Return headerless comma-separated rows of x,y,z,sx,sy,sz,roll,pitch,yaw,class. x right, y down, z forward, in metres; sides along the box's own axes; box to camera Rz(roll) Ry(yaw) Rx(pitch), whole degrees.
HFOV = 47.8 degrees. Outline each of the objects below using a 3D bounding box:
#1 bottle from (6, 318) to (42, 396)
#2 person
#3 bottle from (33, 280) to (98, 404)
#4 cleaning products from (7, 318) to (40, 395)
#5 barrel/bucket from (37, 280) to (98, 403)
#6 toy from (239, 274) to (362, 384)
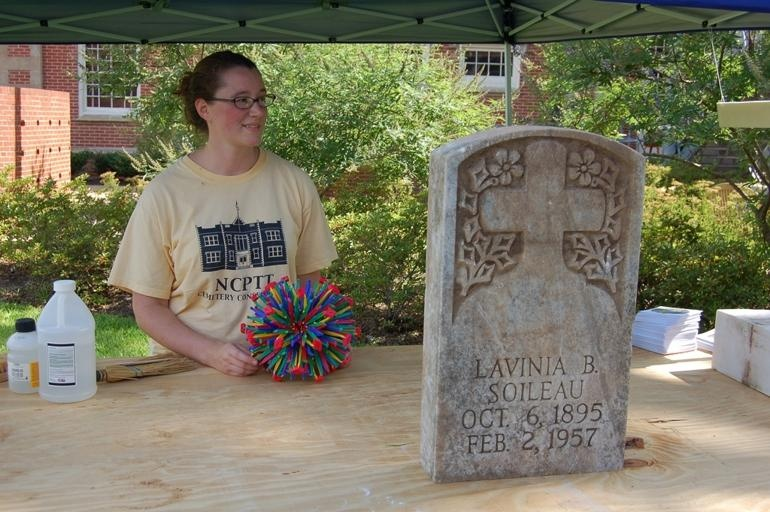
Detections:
-1.610,0.446,3.887,0.189,0.303,0.261,2,1,19,bottle
-0.792,-0.153,4.846,1.250,1.524,1.363,1,-2,-15,person
-1.409,0.404,3.871,0.234,0.617,0.232,-1,0,0,bottle
-1.641,0.438,3.872,0.141,0.404,0.129,8,-1,6,cleaning products
-1.404,0.389,3.867,0.227,0.629,0.224,-1,0,0,barrel/bucket
-0.386,0.348,4.132,0.440,0.528,0.349,-1,0,6,toy
